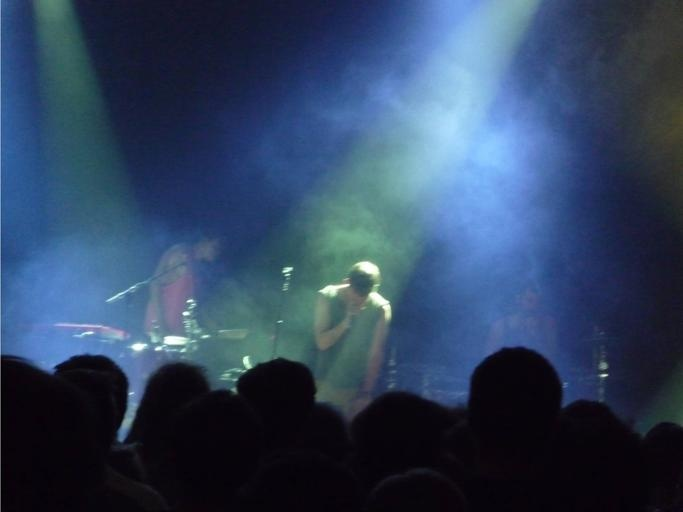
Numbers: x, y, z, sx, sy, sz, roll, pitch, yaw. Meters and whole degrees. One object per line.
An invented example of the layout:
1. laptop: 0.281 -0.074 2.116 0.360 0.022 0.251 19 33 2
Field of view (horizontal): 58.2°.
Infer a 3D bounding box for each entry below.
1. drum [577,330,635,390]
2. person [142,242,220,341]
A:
1. drum: 2.664 1.063 6.302 0.569 0.623 0.550 0 -4 26
2. person: -1.766 0.242 6.776 0.543 1.254 0.407 20 -20 -11
